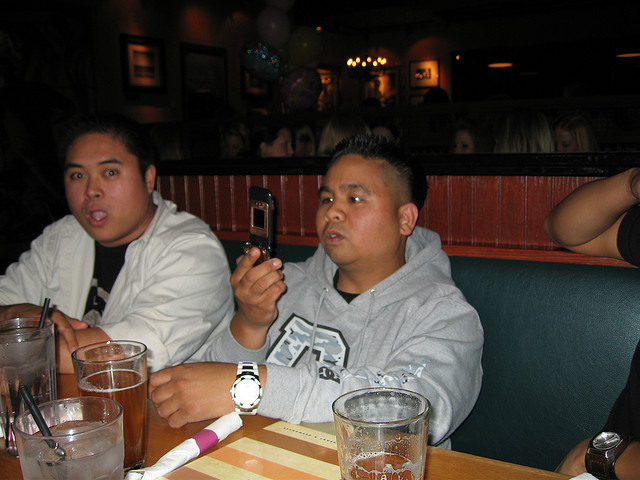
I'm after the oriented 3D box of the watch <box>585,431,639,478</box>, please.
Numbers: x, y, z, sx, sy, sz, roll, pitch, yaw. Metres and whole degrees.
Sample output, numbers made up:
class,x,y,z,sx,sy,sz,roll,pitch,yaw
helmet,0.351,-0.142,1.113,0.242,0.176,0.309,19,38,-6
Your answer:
class,x,y,z,sx,sy,sz,roll,pitch,yaw
watch,0.795,0.587,1.332,0.115,0.110,0.084,0,5,-28

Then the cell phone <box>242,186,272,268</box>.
class,x,y,z,sx,sy,sz,roll,pitch,yaw
cell phone,-0.163,-0.025,1.264,0.089,0.192,0.020,3,-1,-44

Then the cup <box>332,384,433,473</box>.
class,x,y,z,sx,sy,sz,roll,pitch,yaw
cup,0.105,0.287,0.789,0.152,0.119,0.121,2,6,18

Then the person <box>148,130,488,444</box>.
class,x,y,z,sx,sy,sz,roll,pitch,yaw
person,0.005,0.143,1.514,0.752,1.149,0.720,-11,30,-31

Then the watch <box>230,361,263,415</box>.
class,x,y,z,sx,sy,sz,roll,pitch,yaw
watch,-0.172,0.336,1.134,0.090,0.086,0.087,-3,15,-42

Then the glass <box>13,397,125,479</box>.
class,x,y,z,sx,sy,sz,roll,pitch,yaw
glass,-0.379,0.301,0.742,0.135,0.136,0.123,5,12,20
